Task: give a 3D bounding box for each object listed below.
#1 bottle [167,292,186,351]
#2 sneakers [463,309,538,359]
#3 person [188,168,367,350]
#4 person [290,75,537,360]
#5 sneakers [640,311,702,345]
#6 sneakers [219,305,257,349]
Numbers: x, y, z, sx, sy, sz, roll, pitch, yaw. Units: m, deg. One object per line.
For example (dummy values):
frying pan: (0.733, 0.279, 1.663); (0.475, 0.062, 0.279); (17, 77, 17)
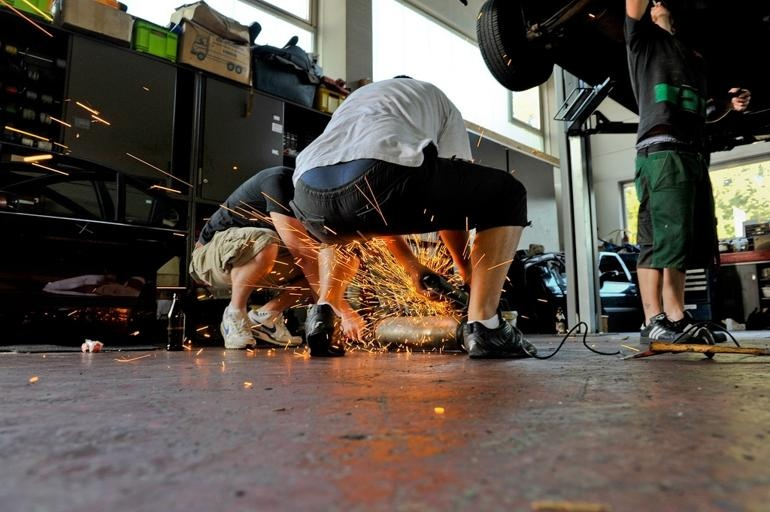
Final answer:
bottle: (-1.039, 0.319, 2.645); (0.076, 0.304, 0.382); (0, -9, -22)
sneakers: (0.453, 0.309, 1.973); (0.314, 0.145, 0.116); (4, -8, -34)
person: (-0.600, 0.009, 3.075); (0.904, 1.146, 0.871); (2, 0, -10)
person: (0.081, -0.175, 2.097); (0.919, 1.174, 0.596); (-6, -9, 14)
sneakers: (1.230, 0.330, 2.372); (0.142, 0.168, 0.419); (4, -11, -9)
sneakers: (-0.740, 0.364, 2.671); (0.108, 0.136, 0.290); (0, 6, -25)
